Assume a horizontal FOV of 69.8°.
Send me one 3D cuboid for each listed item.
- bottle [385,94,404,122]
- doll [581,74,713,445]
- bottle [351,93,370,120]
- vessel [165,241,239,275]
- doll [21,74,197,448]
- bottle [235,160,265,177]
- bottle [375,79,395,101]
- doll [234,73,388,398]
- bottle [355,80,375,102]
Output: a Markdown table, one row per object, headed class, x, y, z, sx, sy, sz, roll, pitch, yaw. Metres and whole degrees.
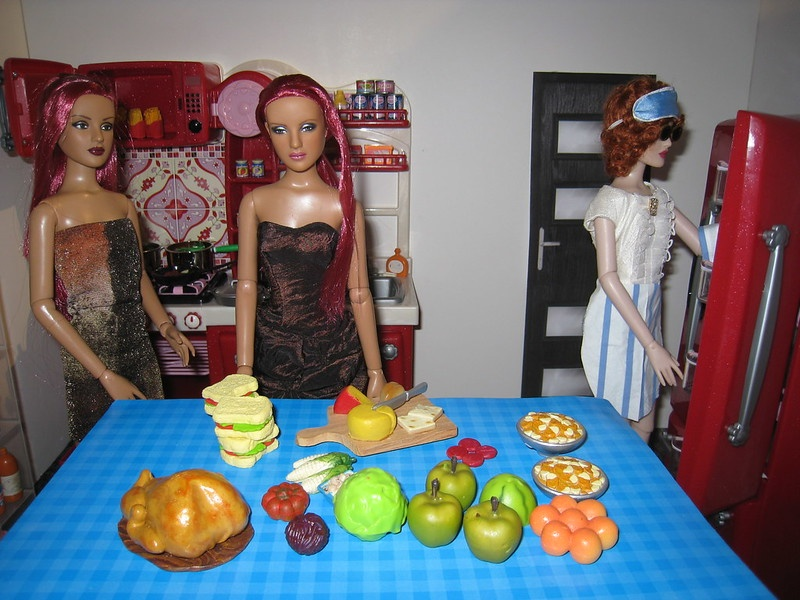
| class | x | y | z | sx | sy | sz | roll | pitch | yaw |
| --- | --- | --- | --- | --- | --- | --- | --- | --- | --- |
| bottle | -0.028 | -1.064 | 3.187 | 0.130 | 0.158 | 0.132 | -8 | 16 | -23 |
| doll | 0.958 | -0.119 | 2.339 | 0.445 | 1.474 | 0.560 | 8 | 22 | 27 |
| bottle | -0.222 | -1.061 | 3.158 | 0.118 | 0.204 | 0.120 | 1 | 15 | 0 |
| vessel | -1.062 | -0.198 | 3.147 | 0.421 | 0.163 | 0.255 | 2 | 14 | -6 |
| doll | -1.176 | -0.128 | 2.248 | 0.483 | 1.415 | 0.605 | 1 | 19 | 9 |
| bottle | -0.818 | -0.714 | 3.122 | 0.149 | 0.102 | 0.085 | 0 | 12 | -6 |
| bottle | -0.082 | -1.163 | 3.177 | 0.084 | 0.063 | 0.089 | 0 | 37 | 0 |
| doll | -0.349 | -0.181 | 2.084 | 0.521 | 1.188 | 0.429 | -4 | 19 | -7 |
| bottle | -0.186 | -1.154 | 3.128 | 0.082 | 0.089 | 0.090 | 18 | 59 | 17 |
